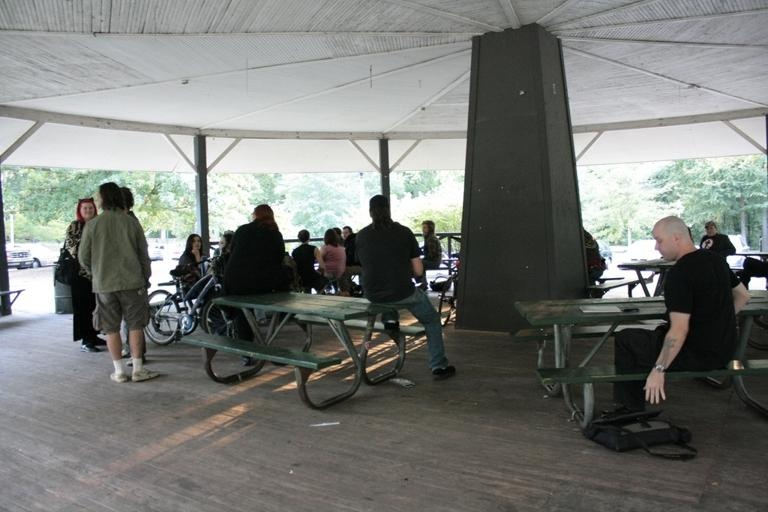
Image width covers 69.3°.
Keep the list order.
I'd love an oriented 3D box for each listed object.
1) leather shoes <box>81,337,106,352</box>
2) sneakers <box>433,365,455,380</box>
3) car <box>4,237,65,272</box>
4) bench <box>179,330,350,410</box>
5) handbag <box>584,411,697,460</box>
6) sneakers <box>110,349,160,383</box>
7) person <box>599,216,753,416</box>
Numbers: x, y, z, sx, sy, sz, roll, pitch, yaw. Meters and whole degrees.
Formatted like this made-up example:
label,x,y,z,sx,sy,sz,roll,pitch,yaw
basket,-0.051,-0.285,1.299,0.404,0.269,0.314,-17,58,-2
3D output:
label,x,y,z,sx,sy,sz,roll,pitch,yaw
leather shoes,-4.151,1.233,7.706,0.552,0.158,0.172,0,-1,-8
sneakers,0.674,1.306,6.212,0.325,0.104,0.101,-3,5,-30
car,-14.587,0.006,22.954,2.953,1.097,1.775,-6,-2,36
bench,-1.076,1.288,5.842,2.032,0.411,0.729,6,11,30
handbag,2.153,1.492,4.643,0.510,0.146,0.511,0,3,-29
sneakers,-2.878,1.292,6.450,0.346,0.145,0.430,1,3,4
person,2.480,0.420,4.609,1.022,1.458,0.756,1,14,19
